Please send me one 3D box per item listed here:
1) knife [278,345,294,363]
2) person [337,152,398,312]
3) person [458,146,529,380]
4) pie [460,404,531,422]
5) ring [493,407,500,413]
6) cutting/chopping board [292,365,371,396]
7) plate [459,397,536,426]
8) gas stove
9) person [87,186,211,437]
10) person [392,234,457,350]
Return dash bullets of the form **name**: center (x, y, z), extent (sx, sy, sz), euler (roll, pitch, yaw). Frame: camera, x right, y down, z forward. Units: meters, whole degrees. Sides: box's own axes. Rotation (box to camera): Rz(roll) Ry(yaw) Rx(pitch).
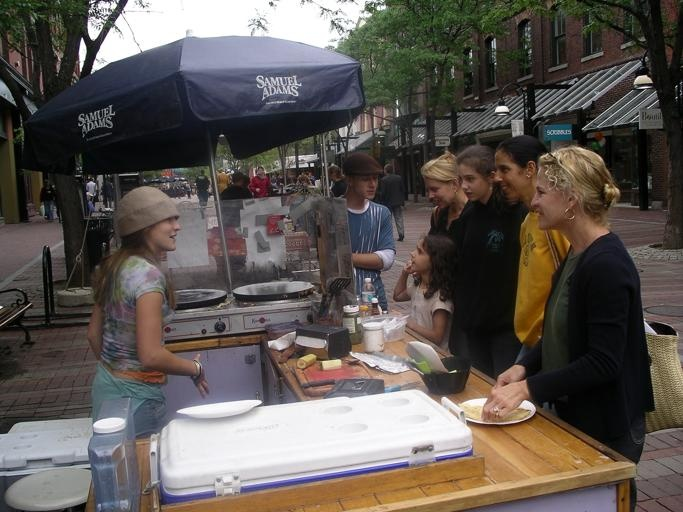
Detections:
- **knife**: center (-0.378, 0.670, 3.559), extent (0.045, 0.043, 0.167), euler (39, 26, 4)
- **person**: center (0.264, -0.214, 4.864), extent (0.455, 1.403, 0.509), euler (2, 14, -24)
- **person**: center (1.094, 0.027, 4.055), extent (0.540, 1.674, 0.473), euler (-1, 2, -27)
- **pie**: center (0.747, 0.764, 2.539), extent (0.153, 0.024, 0.162), euler (1, 4, 27)
- **ring**: center (0.724, 0.724, 2.464), extent (0.019, 0.028, 0.010), euler (-2, -6, 16)
- **cutting/chopping board**: center (-0.056, 0.715, 3.150), extent (0.345, 0.087, 0.430), euler (1, 8, -20)
- **plate**: center (0.761, 0.762, 2.544), extent (0.324, 0.118, 0.179), euler (-6, 12, -39)
- **gas stove**: center (-0.821, 0.503, 4.314), extent (1.110, 0.319, 1.084), euler (-4, 5, -14)
- **person**: center (-1.171, 0.265, 3.149), extent (0.661, 1.491, 0.590), euler (-1, 2, -31)
- **person**: center (0.678, 0.260, 4.202), extent (0.472, 0.844, 0.279), euler (17, 16, 42)
